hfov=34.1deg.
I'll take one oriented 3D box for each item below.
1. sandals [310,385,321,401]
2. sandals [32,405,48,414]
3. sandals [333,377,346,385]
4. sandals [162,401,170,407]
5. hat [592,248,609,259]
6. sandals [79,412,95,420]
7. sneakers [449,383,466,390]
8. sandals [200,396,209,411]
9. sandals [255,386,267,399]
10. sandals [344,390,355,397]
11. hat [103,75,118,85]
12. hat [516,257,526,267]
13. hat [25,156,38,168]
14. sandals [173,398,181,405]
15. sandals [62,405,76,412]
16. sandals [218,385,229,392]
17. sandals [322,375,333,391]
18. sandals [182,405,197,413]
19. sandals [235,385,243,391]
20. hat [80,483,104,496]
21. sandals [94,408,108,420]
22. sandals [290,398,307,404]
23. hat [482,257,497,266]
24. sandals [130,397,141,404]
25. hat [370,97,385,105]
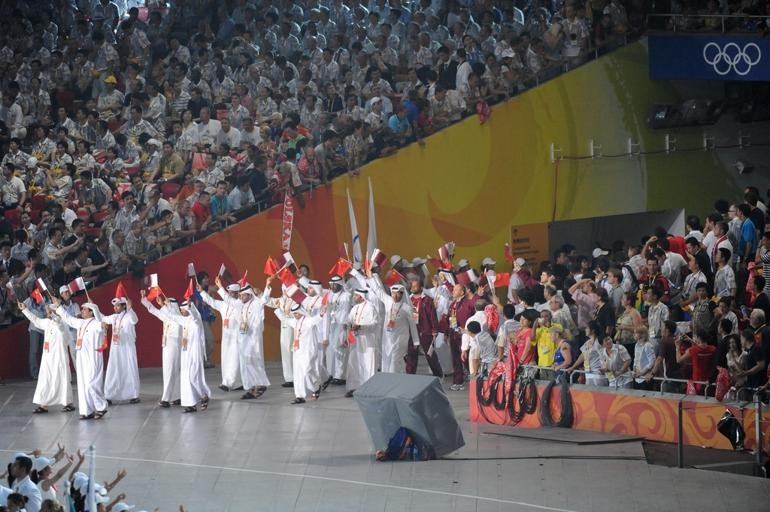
[{"bbox_3d":[-1.454,2.802,26.031,0.122,0.346,0.147,6,-16,7],"label":"sandals"},{"bbox_3d":[-7.095,3.117,25.668,0.274,0.104,0.141,8,4,-10],"label":"sandals"},{"bbox_3d":[-1.021,2.750,27.643,0.333,0.135,0.110,-1,8,-3],"label":"sandals"},{"bbox_3d":[-4.559,3.012,25.854,0.194,0.104,0.075,-2,0,14],"label":"sandals"},{"bbox_3d":[4.863,-0.050,28.202,0.355,0.166,0.250,-9,16,15],"label":"hat"},{"bbox_3d":[-6.012,3.187,25.160,0.328,0.124,0.110,4,-2,-8],"label":"sandals"},{"bbox_3d":[1.550,2.768,26.749,0.345,0.151,0.134,4,2,1],"label":"sneakers"},{"bbox_3d":[-3.692,2.972,25.608,0.102,0.289,0.125,-4,-39,20],"label":"sandals"},{"bbox_3d":[-2.612,2.814,26.507,0.177,0.204,0.449,-2,-1,13],"label":"sandals"},{"bbox_3d":[-0.751,2.864,26.386,0.105,0.123,0.301,-3,1,38],"label":"sandals"},{"bbox_3d":[-6.862,-4.369,31.167,0.314,0.195,0.210,-1,0,-13],"label":"hat"},{"bbox_3d":[3.094,0.131,28.601,0.226,0.183,0.330,-1,0,6],"label":"hat"},{"bbox_3d":[-8.530,-2.246,30.084,0.265,0.218,0.152,-1,0,-16],"label":"hat"},{"bbox_3d":[-4.318,2.980,25.884,0.131,0.116,0.094,-1,-1,-27],"label":"sandals"},{"bbox_3d":[-6.556,3.087,25.772,0.241,0.097,0.108,5,-5,-33],"label":"sandals"},{"bbox_3d":[-3.492,2.792,27.003,0.082,0.138,0.319,-1,-1,-43],"label":"sandals"},{"bbox_3d":[-1.280,2.734,27.391,0.097,0.311,0.115,11,11,-23],"label":"sandals"},{"bbox_3d":[-3.981,3.079,25.428,0.247,0.101,0.116,4,2,-1],"label":"sandals"},{"bbox_3d":[-3.172,2.799,26.987,0.138,0.066,0.189,-4,-4,-10],"label":"sandals"},{"bbox_3d":[-4.653,3.621,19.944,0.365,0.153,0.307,13,6,13],"label":"hat"},{"bbox_3d":[-5.753,3.142,25.340,0.147,0.143,0.385,-2,-1,13],"label":"sandals"},{"bbox_3d":[-1.792,2.954,25.809,0.280,0.108,0.109,0,3,-15],"label":"sandals"},{"bbox_3d":[2.493,0.117,30.384,0.185,0.106,0.286,-15,10,-39],"label":"hat"},{"bbox_3d":[-5.269,3.001,26.270,0.081,0.083,0.217,0,-5,29],"label":"sandals"},{"bbox_3d":[-0.212,-3.901,31.394,0.226,0.066,0.230,-27,28,-32],"label":"hat"}]
